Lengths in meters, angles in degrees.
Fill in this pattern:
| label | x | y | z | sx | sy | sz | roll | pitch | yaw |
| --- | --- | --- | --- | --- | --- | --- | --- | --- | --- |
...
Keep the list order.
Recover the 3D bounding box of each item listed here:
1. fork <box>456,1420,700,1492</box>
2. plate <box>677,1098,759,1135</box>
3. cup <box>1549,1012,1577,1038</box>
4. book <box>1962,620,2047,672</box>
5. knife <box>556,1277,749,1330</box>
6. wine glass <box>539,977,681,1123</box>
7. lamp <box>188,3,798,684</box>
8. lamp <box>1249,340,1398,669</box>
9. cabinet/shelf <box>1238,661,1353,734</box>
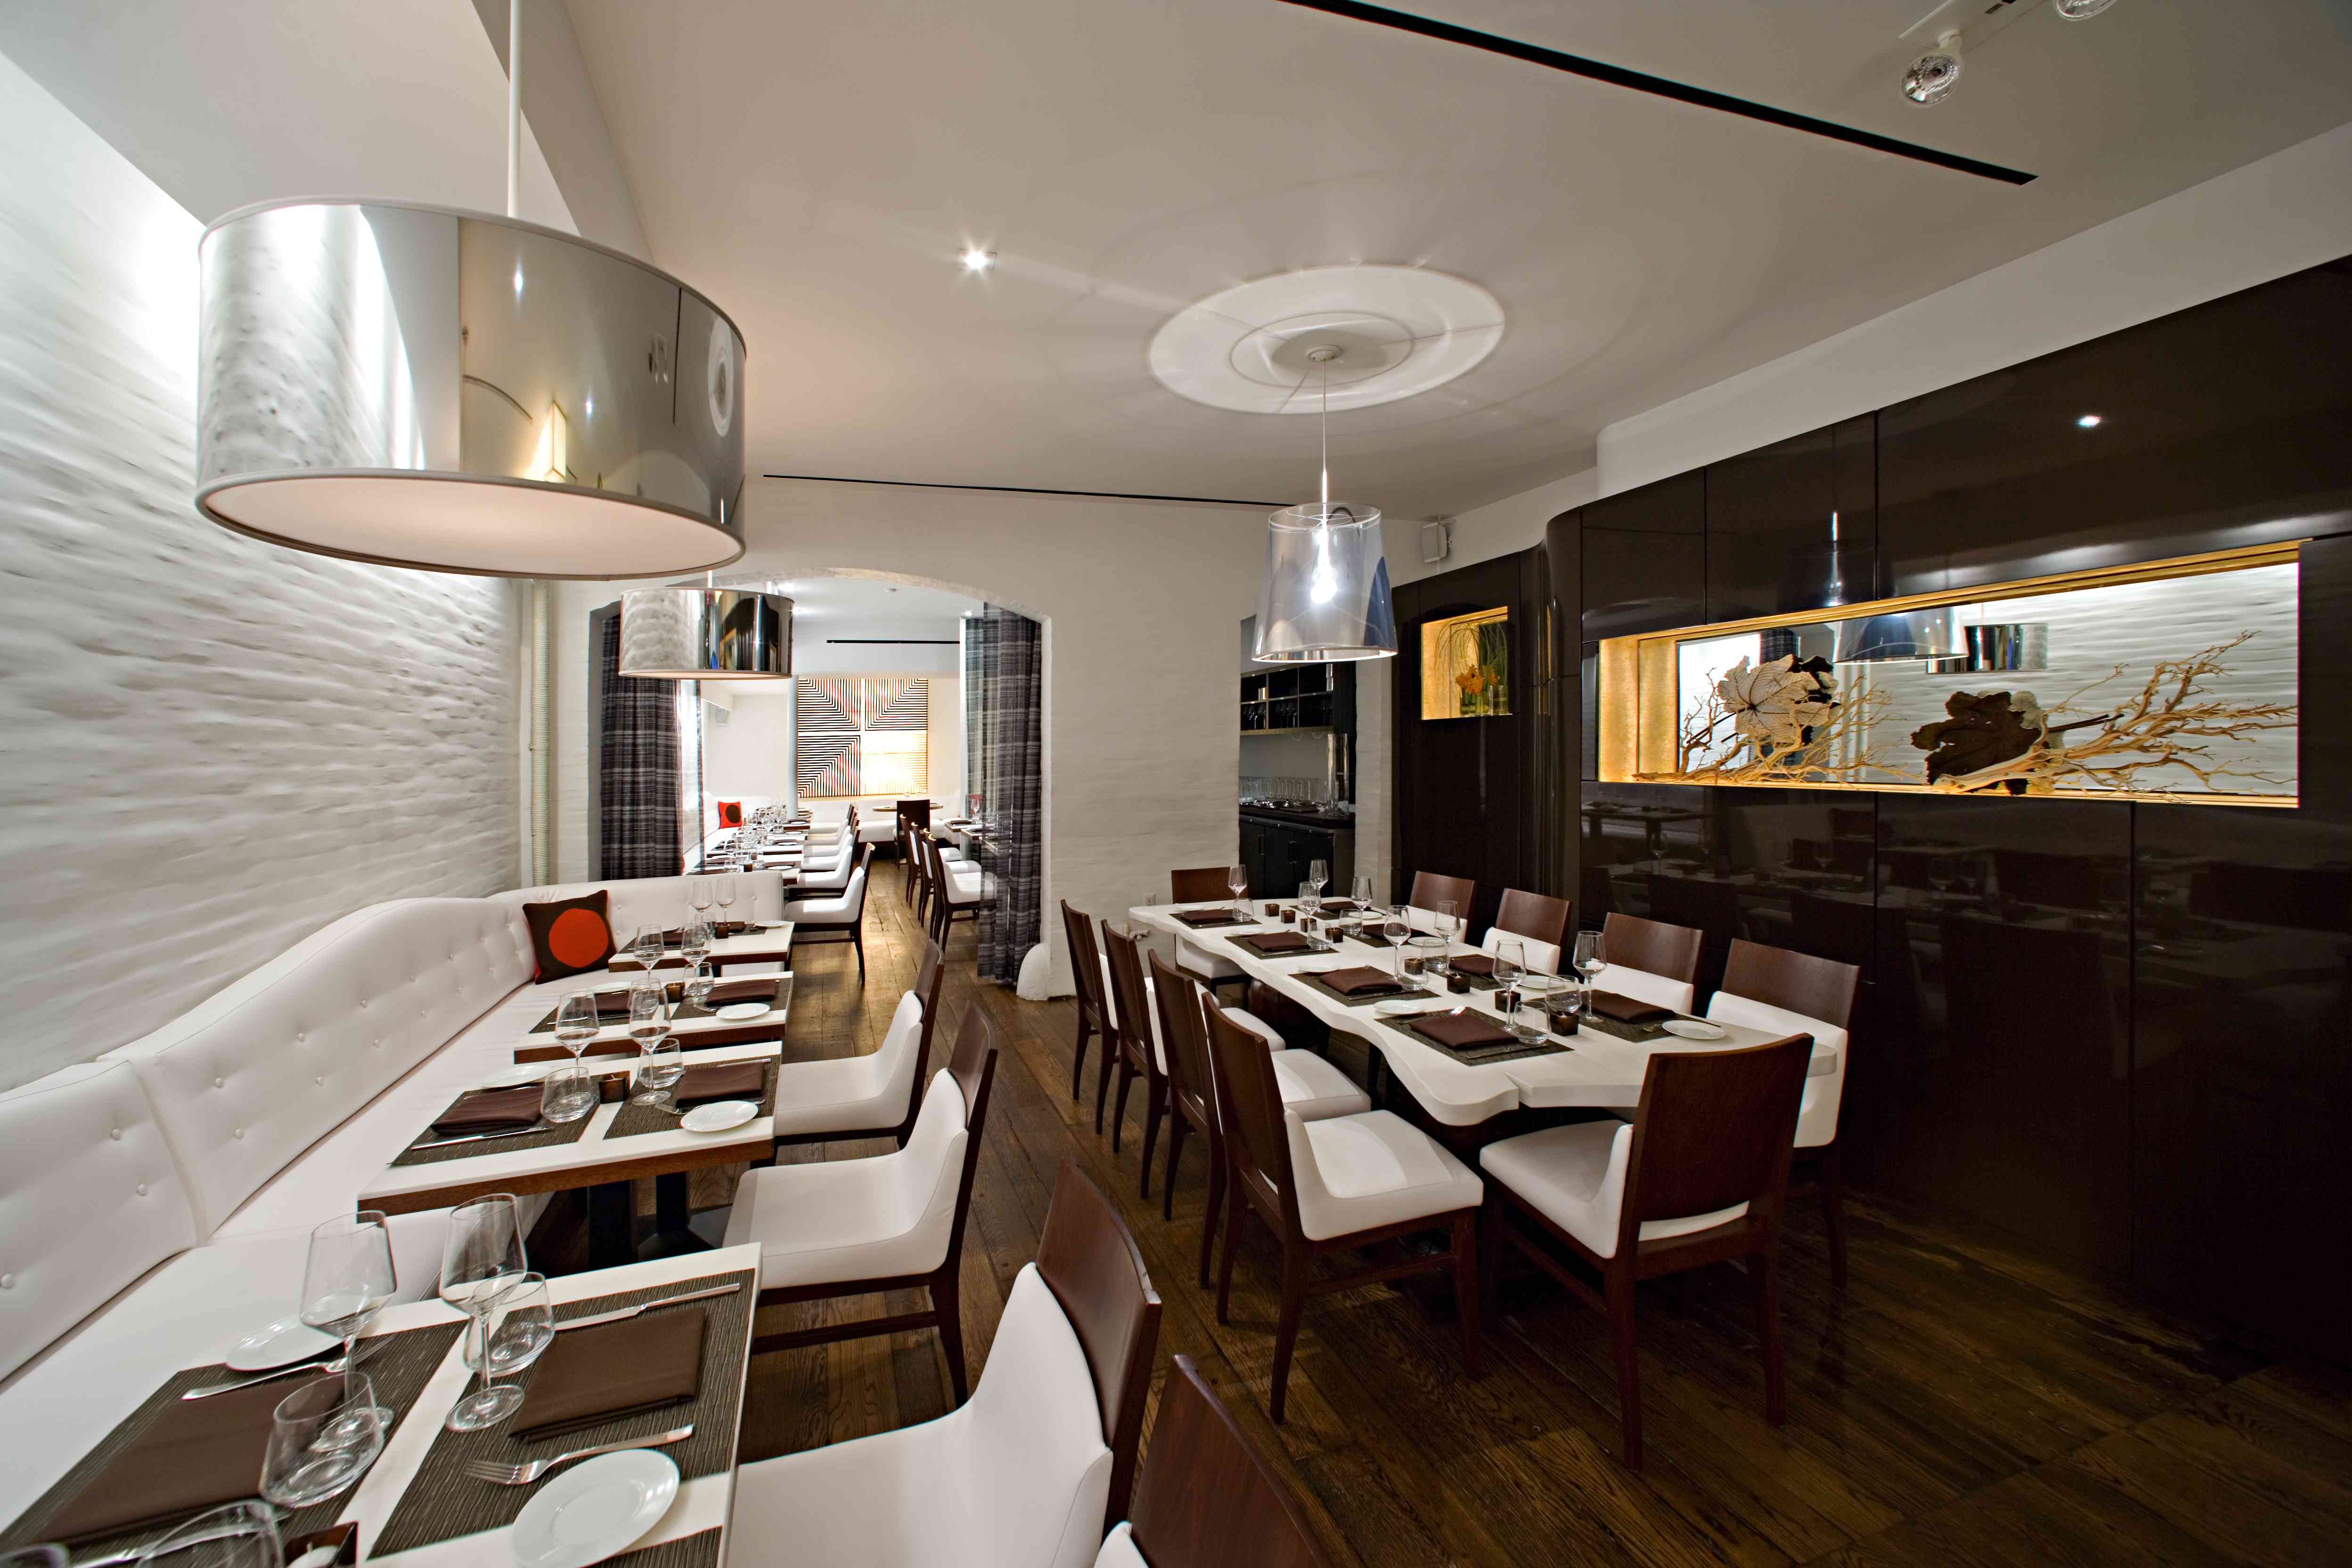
| label | x | y | z | sx | sy | sz | roll | pitch | yaw |
| --- | --- | --- | --- | --- | --- | --- | --- | --- | --- |
| fork | -1.304 | 1.461 | 2.984 | 0.466 | 0.053 | 0.085 | -1 | 22 | -17 |
| plate | -1.315 | 0.954 | 3.956 | 0.216 | 0.053 | 0.164 | -1 | 3 | -20 |
| cup | 1.271 | 0.782 | 4.468 | 0.071 | 0.045 | 0.073 | 0 | -4 | 0 |
| book | 2.917 | -0.486 | 4.807 | 0.165 | 0.116 | 0.169 | 0 | -2 | 12 |
| knife | -1.256 | 1.236 | 3.294 | 0.444 | 0.069 | 0.127 | 0 | 4 | -17 |
| wine glass | -1.769 | 0.843 | 4.312 | 0.314 | 0.300 | 0.119 | 0 | -6 | -17 |
| lamp | -1.490 | -1.172 | 2.944 | 0.882 | 1.387 | 0.895 | 3 | 5 | 33 |
| lamp | 0.579 | -0.814 | 5.235 | 0.506 | 0.651 | 0.225 | 1 | 4 | 2 |
| cabinet/shelf | 0.810 | -0.599 | 9.591 | 0.323 | 0.469 | 2.281 | 0 | 3 | -8 |
